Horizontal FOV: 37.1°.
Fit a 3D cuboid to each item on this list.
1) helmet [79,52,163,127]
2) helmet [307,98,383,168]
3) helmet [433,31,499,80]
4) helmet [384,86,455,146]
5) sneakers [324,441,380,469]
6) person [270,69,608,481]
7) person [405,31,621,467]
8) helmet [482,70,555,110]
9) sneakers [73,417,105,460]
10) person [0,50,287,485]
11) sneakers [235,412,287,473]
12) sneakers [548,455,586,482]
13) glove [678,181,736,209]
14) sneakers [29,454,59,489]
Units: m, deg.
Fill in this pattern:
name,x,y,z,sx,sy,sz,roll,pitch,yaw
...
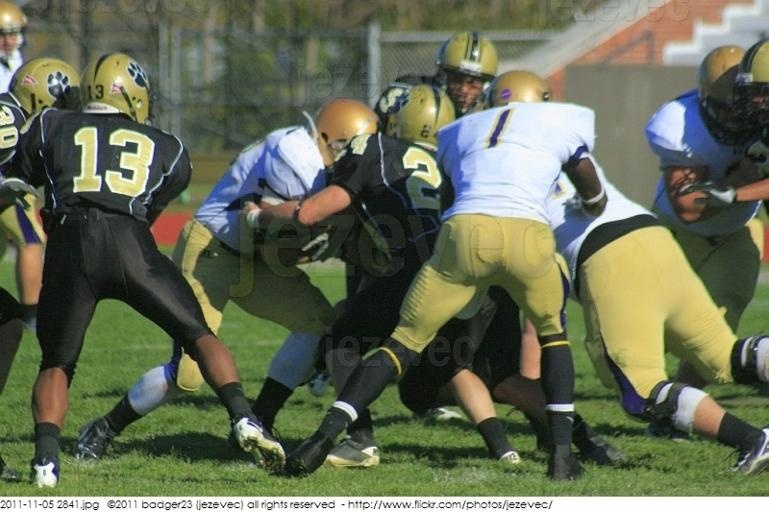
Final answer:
name,x,y,z,sx,sy,sz,roll,pitch,yaw
helmet,-1.473,-0.971,6.646,0.315,0.365,0.435,2,-1,29
helmet,-0.206,-0.756,6.863,0.424,0.362,0.313,-37,0,11
helmet,0.603,-1.355,7.961,0.315,0.306,0.371,15,22,-2
helmet,0.189,-0.876,7.005,0.315,0.359,0.400,28,3,-18
sneakers,-0.170,1.144,6.632,0.346,0.152,0.121,3,-7,-11
person,0.494,0.181,6.370,1.386,2.021,0.660,3,12,10
person,0.739,-0.230,7.358,1.513,2.516,0.681,-4,0,-26
helmet,0.768,-0.970,6.536,0.278,0.235,0.226,-21,36,-32
sneakers,-1.659,1.057,6.663,0.128,0.109,0.296,-15,42,20
person,-1.428,0.199,6.407,1.342,1.977,0.832,-1,12,-7
sneakers,-0.643,0.996,6.332,0.162,0.406,0.186,-37,15,12
sneakers,1.012,1.165,6.393,0.089,0.165,0.252,3,14,36
glove,1.858,-0.374,6.650,0.309,0.110,0.124,7,53,31
sneakers,-1.796,1.154,6.239,0.133,0.166,0.171,2,7,-5
